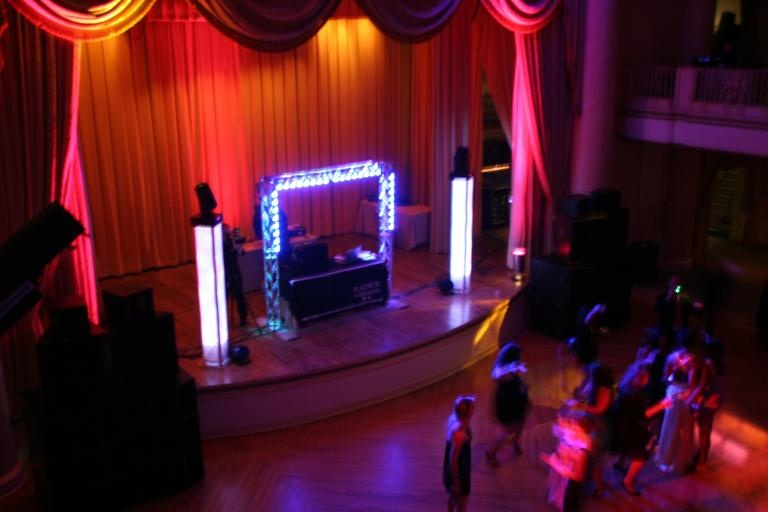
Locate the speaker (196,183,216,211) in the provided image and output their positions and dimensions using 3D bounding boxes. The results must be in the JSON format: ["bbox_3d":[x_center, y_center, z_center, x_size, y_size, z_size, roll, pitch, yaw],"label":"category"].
[{"bbox_3d":[-2.264,-0.746,7.699,0.205,0.356,0.242,-7,13,-17],"label":"speaker"}]

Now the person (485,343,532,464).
[{"bbox_3d":[1.493,1.715,7.369,0.520,1.557,0.672,-1,13,10],"label":"person"}]

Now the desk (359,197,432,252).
[{"bbox_3d":[0.300,-0.645,12.367,1.018,0.779,1.529,-18,30,-38],"label":"desk"}]

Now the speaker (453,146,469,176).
[{"bbox_3d":[1.233,-1.532,9.755,0.274,0.445,0.335,-2,13,7],"label":"speaker"}]

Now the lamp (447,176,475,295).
[{"bbox_3d":[1.255,-0.350,9.892,0.394,1.915,0.222,-2,13,6],"label":"lamp"}]

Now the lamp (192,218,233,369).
[{"bbox_3d":[-2.228,0.501,7.867,0.411,1.905,0.262,-8,13,-20],"label":"lamp"}]
